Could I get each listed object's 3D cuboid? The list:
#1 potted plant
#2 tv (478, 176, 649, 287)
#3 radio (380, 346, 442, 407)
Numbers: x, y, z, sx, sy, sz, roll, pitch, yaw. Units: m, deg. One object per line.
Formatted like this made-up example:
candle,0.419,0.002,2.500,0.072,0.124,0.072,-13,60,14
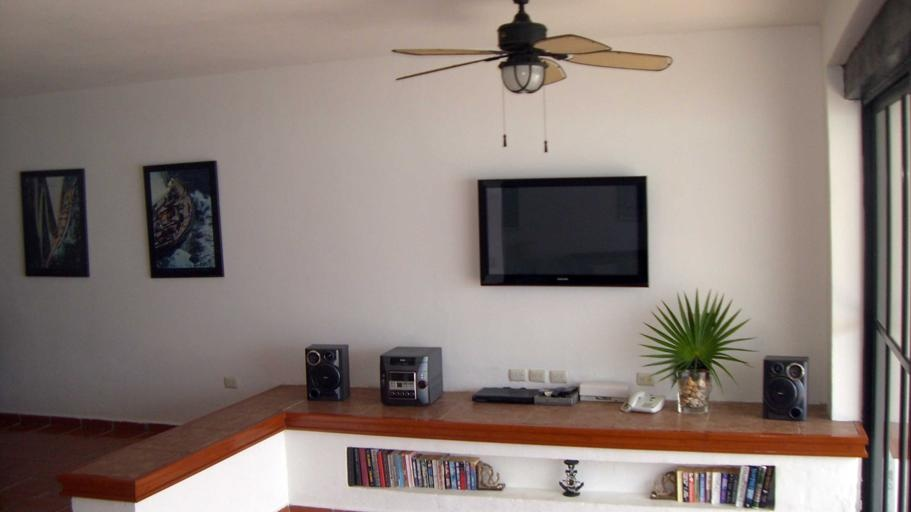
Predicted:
potted plant,2.093,0.841,6.329,1.071,0.986,1.032,1,-5,7
tv,1.040,-0.243,6.195,1.105,0.694,0.109,0,3,5
radio,-0.380,1.092,6.327,0.532,0.435,0.523,-1,-5,18
